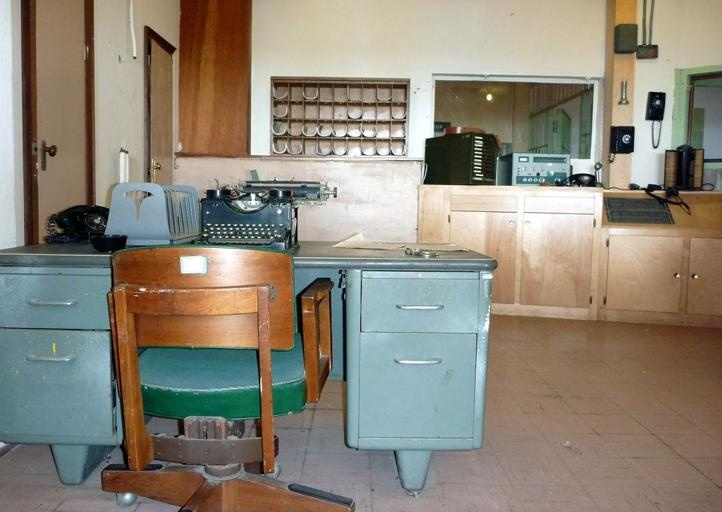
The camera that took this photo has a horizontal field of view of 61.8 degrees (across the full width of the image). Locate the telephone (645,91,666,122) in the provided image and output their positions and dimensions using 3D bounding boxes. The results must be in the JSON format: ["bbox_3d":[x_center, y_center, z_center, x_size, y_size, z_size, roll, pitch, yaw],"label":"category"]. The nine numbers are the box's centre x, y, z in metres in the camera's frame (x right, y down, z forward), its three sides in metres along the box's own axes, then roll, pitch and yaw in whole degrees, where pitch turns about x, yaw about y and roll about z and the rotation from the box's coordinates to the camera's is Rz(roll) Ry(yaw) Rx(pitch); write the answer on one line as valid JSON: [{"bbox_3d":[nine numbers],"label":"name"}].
[{"bbox_3d":[2.971,-1.521,6.108,0.176,0.294,0.118,3,7,17],"label":"telephone"}]

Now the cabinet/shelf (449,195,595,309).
[{"bbox_3d":[1.361,-0.079,4.895,1.072,0.836,0.397,0,1,4],"label":"cabinet/shelf"}]

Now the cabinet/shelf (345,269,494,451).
[{"bbox_3d":[0.277,0.489,3.102,0.780,1.009,0.821,0,1,1],"label":"cabinet/shelf"}]

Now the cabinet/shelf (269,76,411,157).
[{"bbox_3d":[-0.248,-1.549,6.616,1.094,0.581,0.211,1,2,-3],"label":"cabinet/shelf"}]

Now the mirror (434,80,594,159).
[{"bbox_3d":[1.679,-1.500,6.703,1.632,0.808,0.461,1,7,7],"label":"mirror"}]
